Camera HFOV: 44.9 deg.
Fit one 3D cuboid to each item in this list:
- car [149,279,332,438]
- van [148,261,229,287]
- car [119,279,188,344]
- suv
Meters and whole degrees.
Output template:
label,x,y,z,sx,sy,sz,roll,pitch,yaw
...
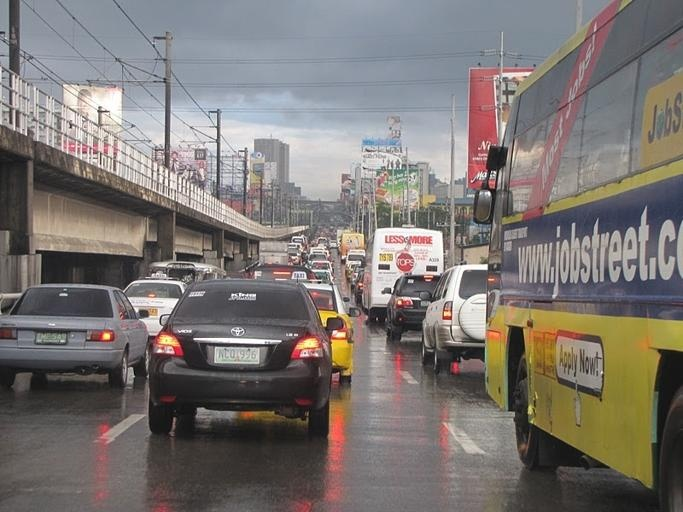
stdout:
label,x,y,z,sx,sy,sz,roll,pitch,yaw
car,-1.144,1.132,10.194,1.218,1.227,2.590,1,1,0
van,-5.516,0.549,30.147,1.754,1.172,3.654,2,-6,13
car,-4.557,1.474,19.974,1.156,1.007,2.788,1,6,2
suv,2.329,1.204,17.484,1.011,1.255,2.370,0,4,-5
